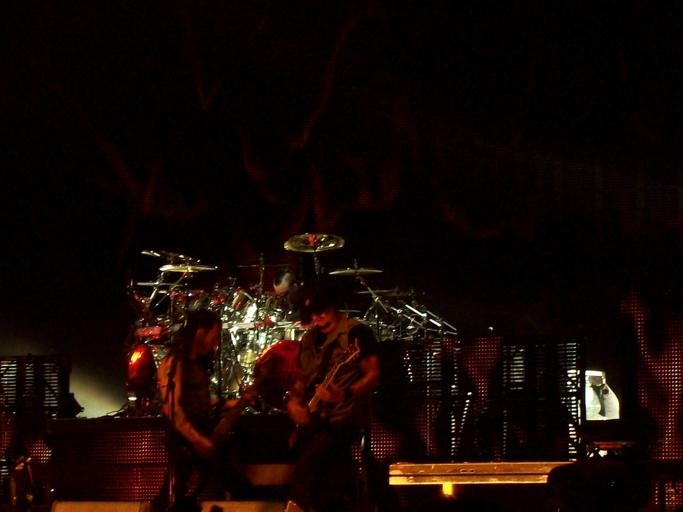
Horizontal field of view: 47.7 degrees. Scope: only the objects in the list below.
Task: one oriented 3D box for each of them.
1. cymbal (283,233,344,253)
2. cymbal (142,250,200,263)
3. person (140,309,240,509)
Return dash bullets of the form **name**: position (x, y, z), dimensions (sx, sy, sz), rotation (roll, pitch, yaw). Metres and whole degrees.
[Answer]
- **cymbal**: position (-0.309, -0.163, 9.147), dimensions (0.389, 0.056, 0.381), rotation (6, -18, -20)
- **cymbal**: position (-1.930, 0.000, 8.638), dimensions (0.374, 0.092, 0.376), rotation (3, 2, -44)
- **person**: position (-1.335, 1.429, 7.143), dimensions (0.757, 1.772, 0.729), rotation (6, -17, -14)
